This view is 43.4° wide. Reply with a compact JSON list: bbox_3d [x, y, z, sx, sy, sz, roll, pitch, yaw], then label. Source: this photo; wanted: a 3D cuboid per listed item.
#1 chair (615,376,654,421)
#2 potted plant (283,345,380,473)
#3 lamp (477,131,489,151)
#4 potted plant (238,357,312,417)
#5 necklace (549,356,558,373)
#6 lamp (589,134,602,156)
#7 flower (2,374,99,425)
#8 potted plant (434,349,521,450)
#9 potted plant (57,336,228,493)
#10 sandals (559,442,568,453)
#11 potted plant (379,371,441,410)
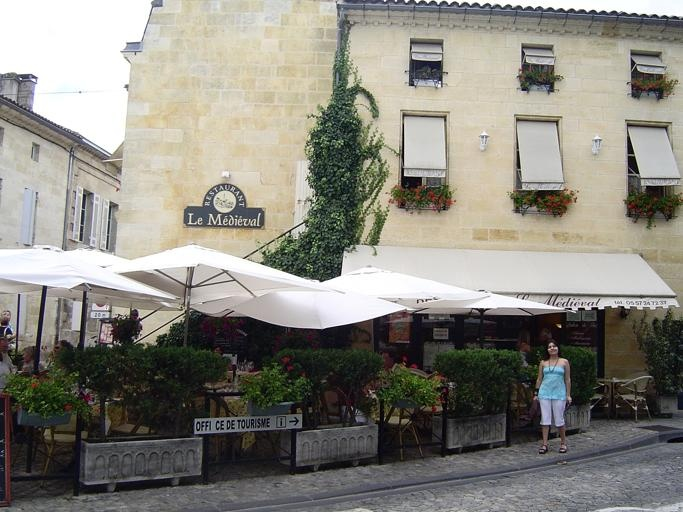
[{"bbox_3d":[6.672,3.269,20.028,0.850,0.890,0.824,2,-8,-2],"label":"chair"},{"bbox_3d":[-0.194,2.696,14.973,2.284,1.941,1.047,2,-6,-29],"label":"potted plant"},{"bbox_3d":[3.599,-2.919,21.715,0.223,0.452,0.244,2,1,19],"label":"lamp"},{"bbox_3d":[-1.156,2.272,14.763,0.883,0.596,0.881,-15,9,-34],"label":"potted plant"},{"bbox_3d":[3.958,2.014,16.085,0.143,0.227,0.105,4,-3,18],"label":"necklace"},{"bbox_3d":[6.503,-2.826,21.843,0.269,0.493,0.247,2,1,2],"label":"lamp"},{"bbox_3d":[-4.504,2.177,13.377,1.035,0.512,0.854,7,-6,-32],"label":"flower"},{"bbox_3d":[2.494,2.688,16.184,2.100,1.839,1.057,3,-6,-37],"label":"potted plant"},{"bbox_3d":[-3.138,2.184,13.903,2.432,1.551,0.606,1,1,-16],"label":"potted plant"},{"bbox_3d":[4.124,3.549,15.991,0.166,0.140,0.456,-4,-9,12],"label":"sandals"},{"bbox_3d":[1.100,2.352,15.783,1.410,0.411,1.233,12,0,-2],"label":"potted plant"}]
